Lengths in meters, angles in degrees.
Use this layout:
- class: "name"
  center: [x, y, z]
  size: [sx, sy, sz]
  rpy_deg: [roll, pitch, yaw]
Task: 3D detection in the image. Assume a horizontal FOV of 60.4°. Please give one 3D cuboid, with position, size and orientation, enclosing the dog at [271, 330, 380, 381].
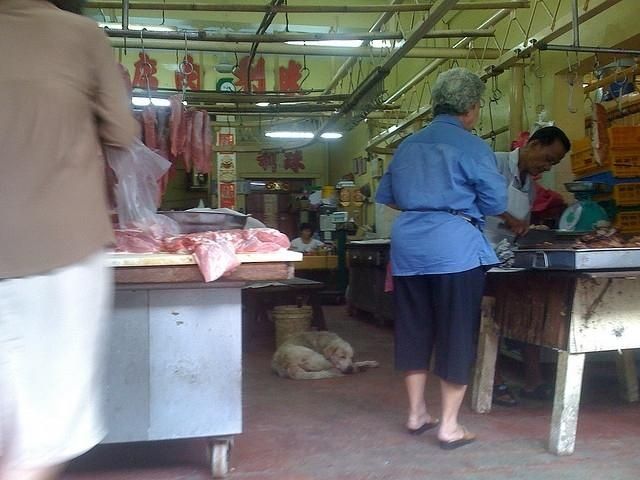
- class: "dog"
  center: [0.002, 0.963, 4.771]
  size: [0.880, 0.236, 0.598]
  rpy_deg: [0, 14, -37]

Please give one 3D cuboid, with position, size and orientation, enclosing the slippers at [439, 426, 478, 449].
- class: "slippers"
  center: [0.787, 1.111, 3.095]
  size: [0.234, 0.059, 0.082]
  rpy_deg: [-2, 1, -38]

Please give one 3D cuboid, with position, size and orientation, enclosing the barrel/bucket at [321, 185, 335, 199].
- class: "barrel/bucket"
  center: [0.166, -0.987, 11.499]
  size: [0.376, 0.252, 0.356]
  rpy_deg: [0, 4, 0]

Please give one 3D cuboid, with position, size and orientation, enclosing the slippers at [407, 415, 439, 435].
- class: "slippers"
  center: [0.627, 1.109, 3.301]
  size: [0.193, 0.054, 0.071]
  rpy_deg: [-4, 5, -45]
